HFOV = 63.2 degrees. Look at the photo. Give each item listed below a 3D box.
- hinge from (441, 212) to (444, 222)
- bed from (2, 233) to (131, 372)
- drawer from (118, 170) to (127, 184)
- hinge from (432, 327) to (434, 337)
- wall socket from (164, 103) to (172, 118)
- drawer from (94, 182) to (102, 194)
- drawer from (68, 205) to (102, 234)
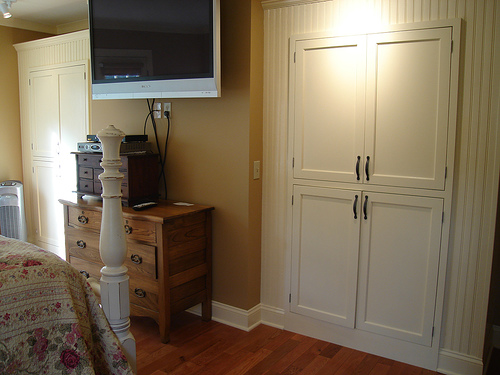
[{"bbox_3d":[1.288,0.196,2.724,0.012,0.062,0.010,4,13,16],"label":"hinge"},{"bbox_3d":[-0.901,0.655,1.978,0.185,0.771,0.537,-23,-13,30],"label":"bed"},{"bbox_3d":[-0.905,-0.079,2.901,0.092,0.101,0.031,5,11,30],"label":"drawer"},{"bbox_3d":[1.254,0.990,2.796,0.009,0.077,0.010,0,-1,17],"label":"hinge"},{"bbox_3d":[-0.714,-0.676,3.538,0.093,0.125,0.032,10,15,34],"label":"wall socket"},{"bbox_3d":[-1.301,-0.004,3.508,0.092,0.095,0.050,4,6,32],"label":"drawer"},{"bbox_3d":[-1.372,0.263,3.446,0.350,0.242,0.216,5,5,29],"label":"drawer"}]
